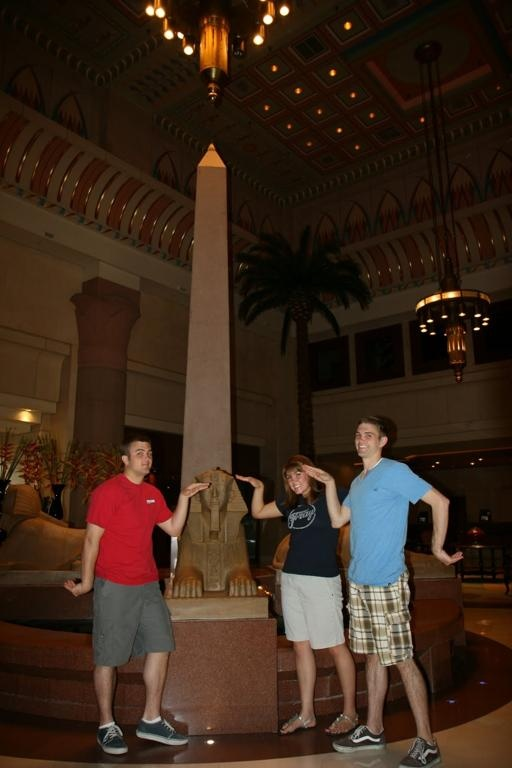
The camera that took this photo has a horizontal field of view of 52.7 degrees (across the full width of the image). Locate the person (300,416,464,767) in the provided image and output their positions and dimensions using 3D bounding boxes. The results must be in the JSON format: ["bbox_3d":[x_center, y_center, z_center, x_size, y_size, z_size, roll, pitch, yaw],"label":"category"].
[{"bbox_3d":[0.583,0.903,2.296,0.359,1.515,0.783,3,-8,-34],"label":"person"}]

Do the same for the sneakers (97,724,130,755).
[{"bbox_3d":[-0.617,1.543,2.262,0.070,0.087,0.188,9,-26,-24],"label":"sneakers"}]

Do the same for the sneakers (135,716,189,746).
[{"bbox_3d":[-0.434,1.585,2.423,0.255,0.136,0.119,7,-30,7],"label":"sneakers"}]

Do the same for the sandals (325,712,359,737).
[{"bbox_3d":[0.422,1.659,2.540,0.156,0.069,0.087,15,-26,-24],"label":"sandals"}]

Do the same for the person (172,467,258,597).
[{"bbox_3d":[-0.298,0.975,3.462,0.499,0.845,0.719,3,-21,-12],"label":"person"}]

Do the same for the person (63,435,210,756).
[{"bbox_3d":[-0.614,0.989,2.511,0.588,1.433,0.403,2,-7,-24],"label":"person"}]

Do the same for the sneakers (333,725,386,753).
[{"bbox_3d":[0.463,1.576,2.320,0.260,0.129,0.097,-1,-29,-3],"label":"sneakers"}]

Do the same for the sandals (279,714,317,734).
[{"bbox_3d":[0.209,1.713,2.609,0.217,0.109,0.070,11,-20,-19],"label":"sandals"}]
